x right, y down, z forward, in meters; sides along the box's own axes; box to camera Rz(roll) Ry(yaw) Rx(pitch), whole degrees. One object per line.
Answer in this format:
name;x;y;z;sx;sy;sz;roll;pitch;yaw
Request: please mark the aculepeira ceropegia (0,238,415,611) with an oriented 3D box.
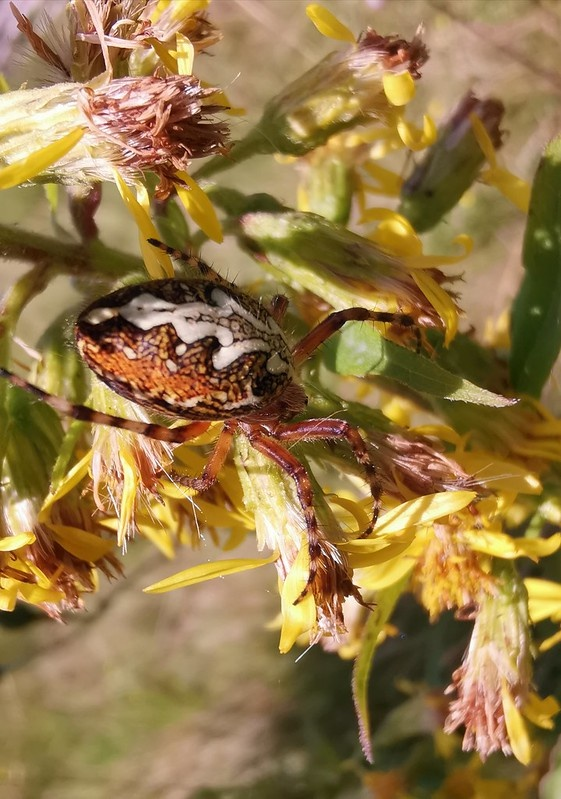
aculepeira ceropegia;-0.052;0.024;0.515;0.317;0.090;0.226;10;57;-27
